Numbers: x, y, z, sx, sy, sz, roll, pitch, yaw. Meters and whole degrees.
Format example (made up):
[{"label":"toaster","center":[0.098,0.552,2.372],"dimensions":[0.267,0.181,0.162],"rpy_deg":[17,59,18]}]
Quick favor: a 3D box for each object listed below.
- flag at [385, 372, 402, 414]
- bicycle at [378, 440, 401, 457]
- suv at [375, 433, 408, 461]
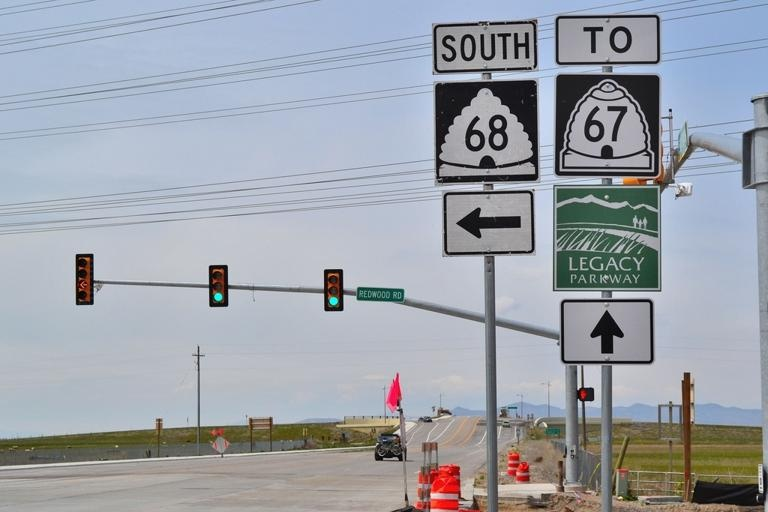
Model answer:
[{"label":"flag","center":[0.609,6.649,75.239],"dimensions":[0.667,1.996,0.186],"rpy_deg":[-2,29,-12]},{"label":"bicycle","center":[0.340,12.377,99.526],"dimensions":[1.528,1.008,0.949],"rpy_deg":[0,-10,-1]},{"label":"suv","center":[0.301,12.251,99.515],"dimensions":[2.023,1.347,3.785],"rpy_deg":[0,-5,2]}]
